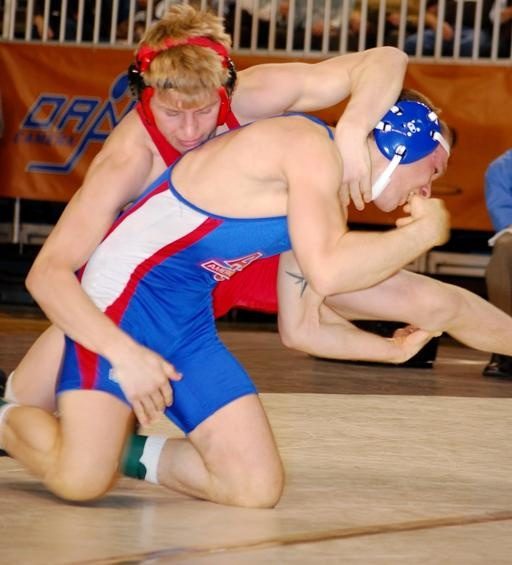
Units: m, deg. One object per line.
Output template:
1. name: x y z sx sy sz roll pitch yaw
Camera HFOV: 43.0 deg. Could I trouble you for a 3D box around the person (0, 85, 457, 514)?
1. person: -0.036 0.040 1.300 0.882 0.719 0.528 -28 41 -36
